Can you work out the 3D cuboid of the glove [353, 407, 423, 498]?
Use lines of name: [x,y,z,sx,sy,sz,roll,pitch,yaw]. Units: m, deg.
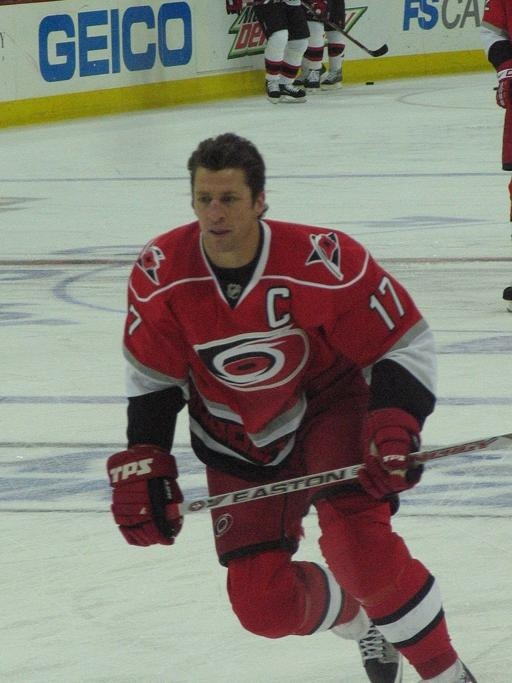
glove: [0.230,0.194,1.325,0.104,0.150,0.104,0,15,9]
